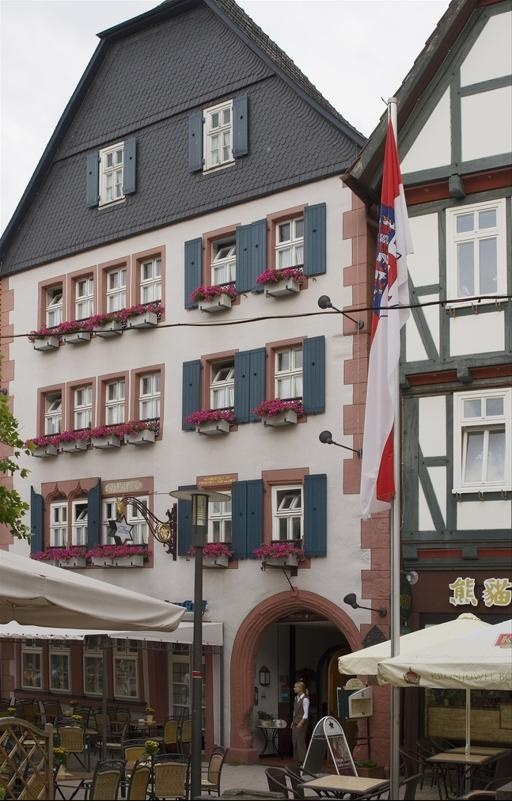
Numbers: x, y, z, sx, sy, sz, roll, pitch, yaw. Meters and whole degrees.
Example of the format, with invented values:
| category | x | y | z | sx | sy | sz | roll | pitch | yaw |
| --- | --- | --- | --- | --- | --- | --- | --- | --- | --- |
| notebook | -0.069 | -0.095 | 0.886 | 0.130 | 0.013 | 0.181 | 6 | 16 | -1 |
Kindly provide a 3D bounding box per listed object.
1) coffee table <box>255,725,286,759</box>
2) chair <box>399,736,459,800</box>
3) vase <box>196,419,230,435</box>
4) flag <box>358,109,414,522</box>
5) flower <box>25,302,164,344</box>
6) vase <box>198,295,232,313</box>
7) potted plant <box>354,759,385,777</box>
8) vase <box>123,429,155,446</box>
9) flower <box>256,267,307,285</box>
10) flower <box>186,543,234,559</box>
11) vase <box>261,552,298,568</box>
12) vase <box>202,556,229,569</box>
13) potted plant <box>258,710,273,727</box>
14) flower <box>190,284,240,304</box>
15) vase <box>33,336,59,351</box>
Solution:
| category | x | y | z | sx | sy | sz | roll | pitch | yaw |
| --- | --- | --- | --- | --- | --- | --- | --- | --- | --- |
| coffee table | 0.226 | 5.502 | 31.130 | 0.419 | 0.606 | 0.489 | 0 | -15 | -4 |
| chair | 2.304 | 4.944 | 25.655 | 0.547 | 0.969 | 0.819 | -10 | -14 | 27 |
| vase | -0.734 | 0.461 | 31.512 | 0.305 | 0.220 | 0.656 | 7 | -13 | -39 |
| flag | 1.563 | -1.081 | 23.499 | 0.648 | 4.997 | 0.759 | -1 | -7 | 5 |
| flower | -2.810 | -1.330 | 33.972 | 3.020 | 0.534 | 0.560 | -11 | -14 | 43 |
| vase | -0.691 | -1.600 | 31.863 | 0.561 | 0.234 | 0.359 | -11 | -14 | 43 |
| potted plant | 1.636 | 5.362 | 27.947 | 0.247 | 0.199 | 0.256 | -3 | -3 | 37 |
| vase | -2.007 | 0.645 | 32.862 | 0.264 | 0.249 | 0.609 | 8 | -13 | -43 |
| flower | 0.385 | -1.994 | 30.877 | 0.787 | 0.353 | 0.452 | -2 | -9 | 5 |
| flower | -0.713 | 2.436 | 30.989 | 0.356 | 0.199 | 0.514 | 6 | -11 | -26 |
| vase | 0.340 | 2.511 | 29.961 | 0.657 | 0.219 | 0.283 | -10 | -13 | 41 |
| vase | -0.661 | 2.599 | 30.848 | 0.344 | 0.237 | 0.239 | -12 | -17 | 42 |
| potted plant | 0.120 | 5.123 | 30.881 | 0.188 | 0.236 | 0.156 | -2 | -6 | 22 |
| flower | -0.720 | -1.782 | 31.773 | 0.440 | 0.237 | 0.390 | -8 | -6 | 34 |
| vase | -3.832 | -1.036 | 35.133 | 0.252 | 0.270 | 0.402 | -5 | -8 | 44 |
